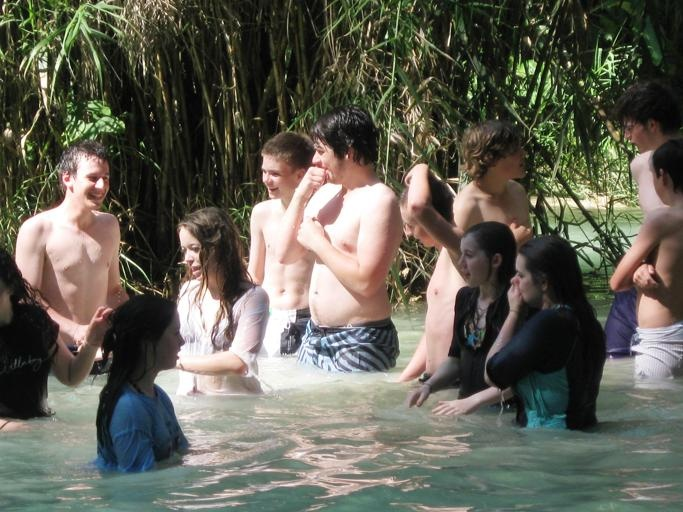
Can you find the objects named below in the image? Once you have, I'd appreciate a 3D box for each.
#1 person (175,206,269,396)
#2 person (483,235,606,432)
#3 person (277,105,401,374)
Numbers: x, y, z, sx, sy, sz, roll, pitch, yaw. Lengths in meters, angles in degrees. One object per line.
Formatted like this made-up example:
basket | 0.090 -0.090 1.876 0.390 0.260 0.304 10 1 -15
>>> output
person | -0.653 0.247 3.424 0.518 0.999 0.294 -1 5 2
person | 0.879 0.340 2.791 0.506 0.841 0.246 -1 5 9
person | -0.024 -0.093 3.911 0.523 1.569 0.889 -5 6 -37
